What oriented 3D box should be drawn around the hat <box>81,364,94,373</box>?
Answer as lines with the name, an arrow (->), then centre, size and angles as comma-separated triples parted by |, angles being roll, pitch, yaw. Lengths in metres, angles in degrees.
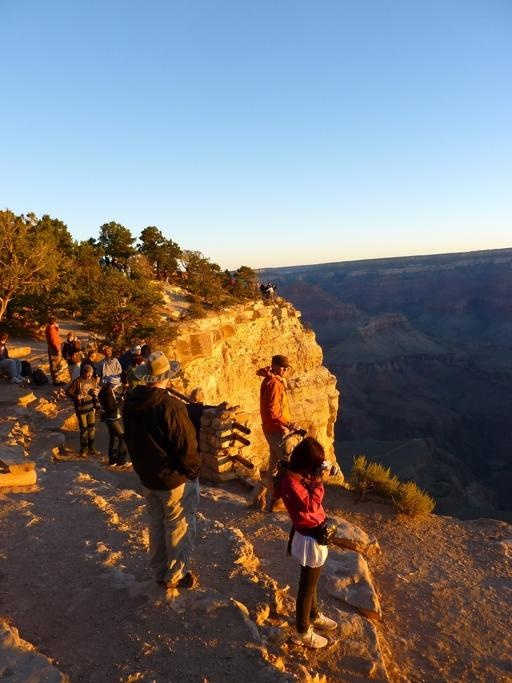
hat -> -2.457, 0.366, 7.114 | 0.099, 0.106, 0.126 | 12, 5, 27

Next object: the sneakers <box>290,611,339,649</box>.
sneakers -> 0.411, 2.086, 3.597 | 0.212, 0.086, 0.261 | 0, 2, 10

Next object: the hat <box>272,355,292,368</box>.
hat -> 0.272, 0.220, 5.854 | 0.196, 0.152, 0.349 | 13, -1, 0

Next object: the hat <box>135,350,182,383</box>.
hat -> -0.725, 0.231, 3.656 | 0.259, 0.099, 0.278 | 10, 28, 17
